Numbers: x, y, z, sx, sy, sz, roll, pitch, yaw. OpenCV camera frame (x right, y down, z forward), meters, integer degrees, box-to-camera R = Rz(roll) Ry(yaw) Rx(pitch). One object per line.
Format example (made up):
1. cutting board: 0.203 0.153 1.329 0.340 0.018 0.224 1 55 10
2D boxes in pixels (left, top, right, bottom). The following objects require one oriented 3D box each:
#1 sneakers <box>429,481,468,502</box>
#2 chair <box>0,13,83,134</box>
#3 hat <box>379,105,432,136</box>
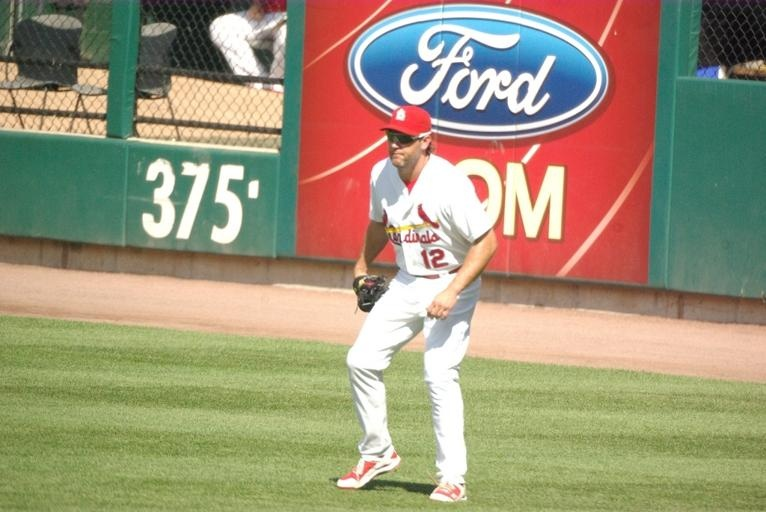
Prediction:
1. sneakers: 0.659 2.354 15.471 0.333 0.153 0.173 5 -8 -6
2. chair: -4.796 -2.551 21.303 1.338 1.922 1.379 1 5 -1
3. hat: 0.283 -1.345 15.513 0.417 0.238 0.303 -11 18 -39
